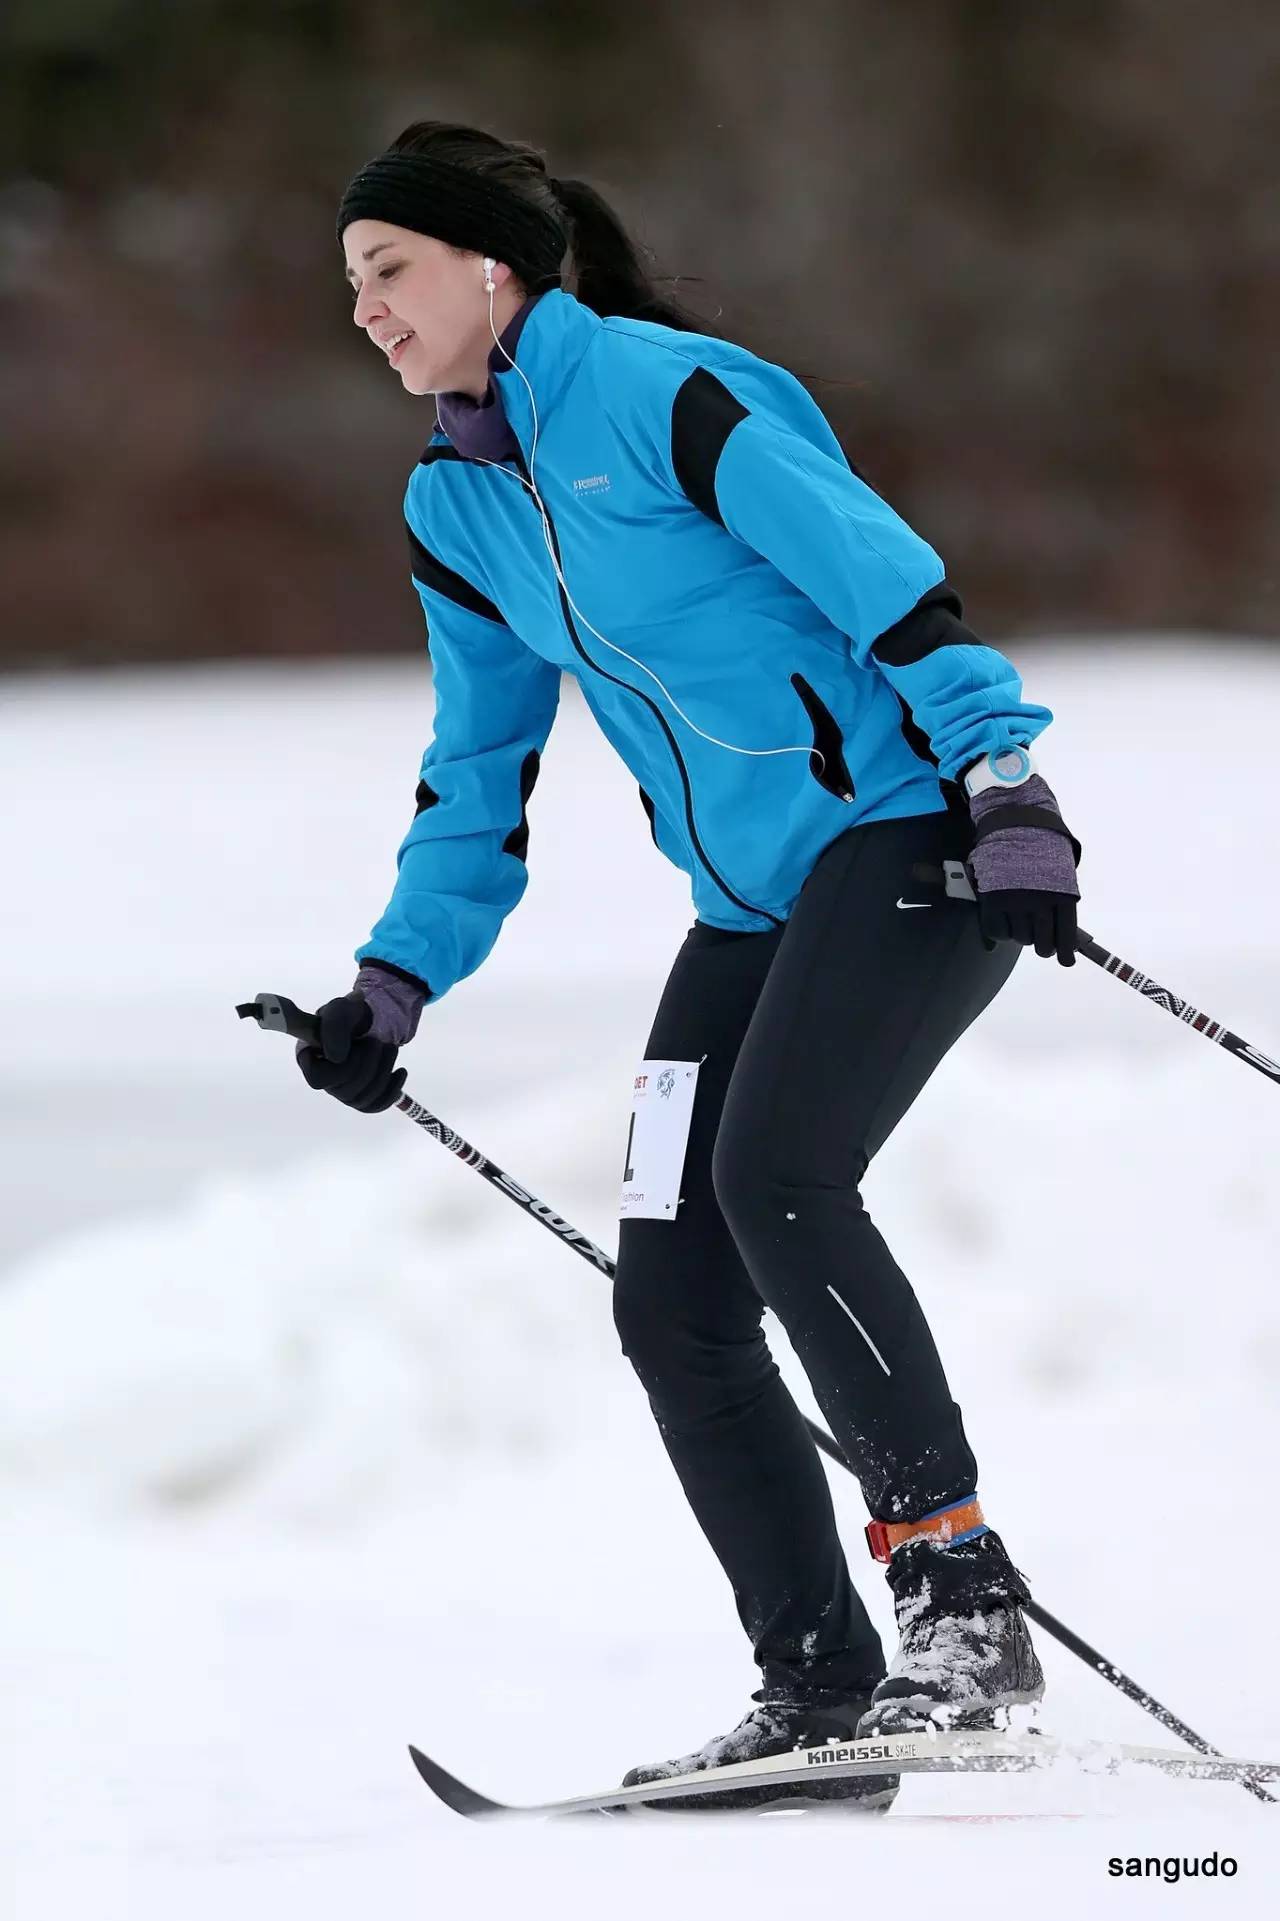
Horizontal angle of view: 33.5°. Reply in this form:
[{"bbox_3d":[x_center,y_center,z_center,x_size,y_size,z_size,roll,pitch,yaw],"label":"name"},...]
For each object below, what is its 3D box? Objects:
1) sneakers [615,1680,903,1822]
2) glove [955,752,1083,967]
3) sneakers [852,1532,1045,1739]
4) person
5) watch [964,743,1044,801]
[{"bbox_3d":[0.121,0.685,1.850,0.308,0.130,0.088,0,-17,10],"label":"sneakers"},{"bbox_3d":[0.309,-0.082,1.738,0.107,0.157,0.064,-4,-7,-1],"label":"glove"},{"bbox_3d":[0.256,0.526,1.744,0.094,0.156,0.244,-7,1,20],"label":"sneakers"},{"bbox_3d":[0.028,-0.030,1.912,0.413,1.515,0.747,-1,-2,-41],"label":"person"},{"bbox_3d":[0.289,-0.152,1.700,0.054,0.032,0.047,-26,-13,-10],"label":"watch"}]
